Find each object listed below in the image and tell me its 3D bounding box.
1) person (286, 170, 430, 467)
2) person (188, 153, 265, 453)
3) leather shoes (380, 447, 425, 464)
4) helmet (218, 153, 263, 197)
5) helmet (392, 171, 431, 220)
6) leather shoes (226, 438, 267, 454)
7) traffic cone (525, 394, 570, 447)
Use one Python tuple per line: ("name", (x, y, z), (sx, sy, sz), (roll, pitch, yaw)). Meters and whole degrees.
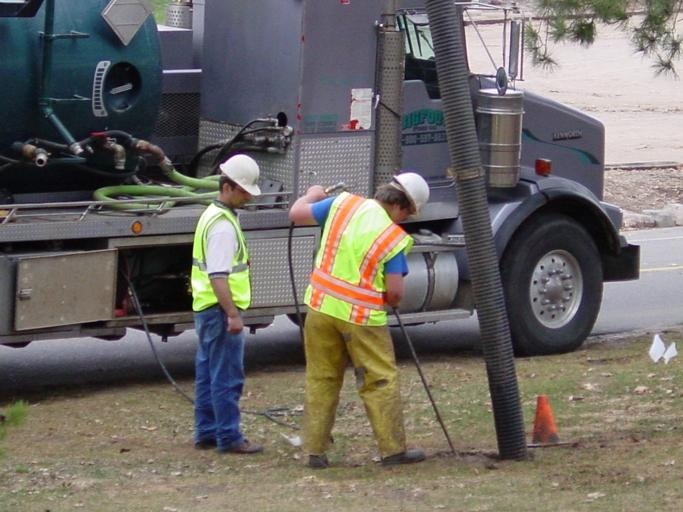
("person", (0.135, 0.466, 9.107), (0.957, 2.117, 0.432), (-1, 9, 2))
("person", (-0.893, 0.360, 9.330), (0.530, 2.215, 0.487), (0, 9, 12))
("leather shoes", (0.451, 1.456, 9.150), (0.199, 0.050, 0.137), (-5, 2, -16))
("helmet", (-0.736, -0.601, 9.333), (0.348, 0.189, 0.246), (31, 30, 8))
("helmet", (0.490, -0.455, 9.080), (0.264, 0.298, 0.239), (-2, 8, -3))
("leather shoes", (-0.735, 1.418, 9.410), (0.275, 0.090, 0.103), (-2, 0, -4))
("traffic cone", (1.527, 1.218, 9.377), (0.199, 0.372, 0.176), (0, 9, 8))
